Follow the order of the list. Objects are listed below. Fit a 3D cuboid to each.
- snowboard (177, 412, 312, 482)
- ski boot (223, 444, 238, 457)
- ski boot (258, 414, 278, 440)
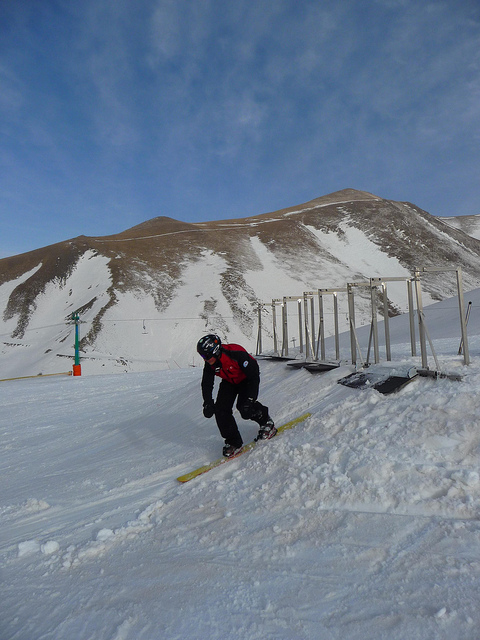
[{"bbox_3d":[0.087,1.394,5.274,1.404,0.092,0.153,-25,45,-19],"label":"snowboard"},{"bbox_3d":[-0.112,1.417,5.234,0.068,0.080,0.192,-17,1,11],"label":"ski boot"},{"bbox_3d":[0.338,1.225,5.508,0.104,0.210,0.310,-35,-3,29],"label":"ski boot"}]
